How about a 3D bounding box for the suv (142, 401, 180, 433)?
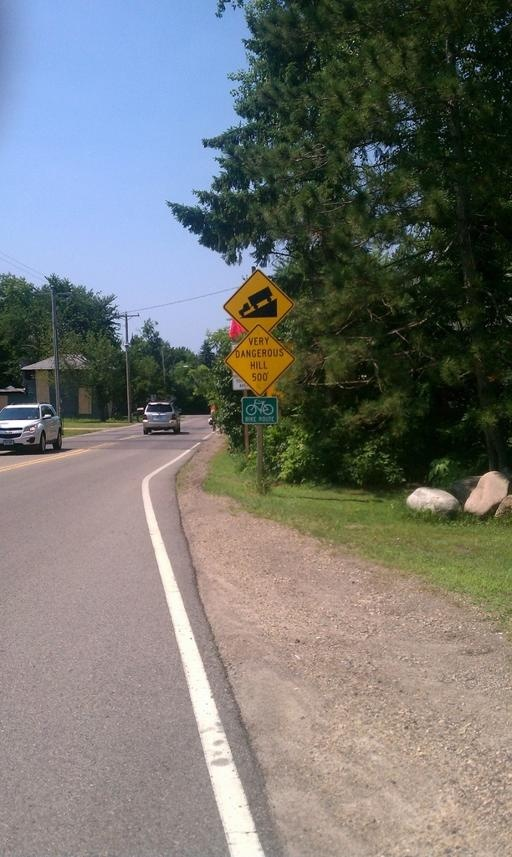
[{"bbox_3d":[-5.238,-0.677,40.911,1.094,1.171,2.439,-1,10,-2],"label":"suv"}]
